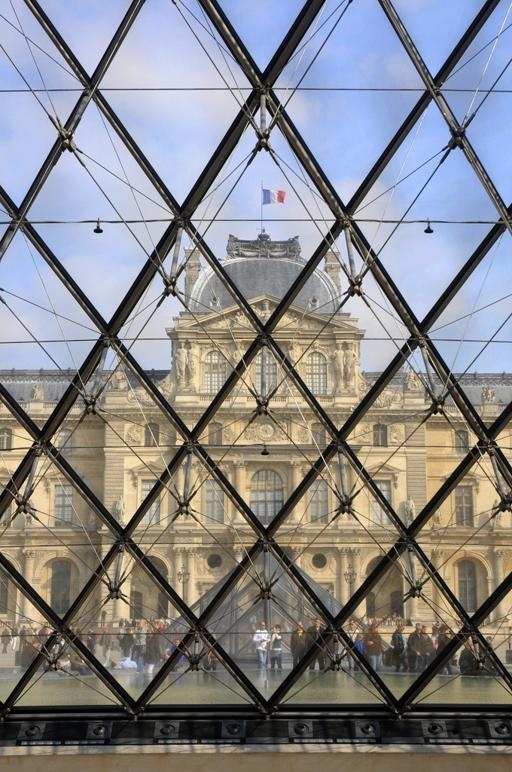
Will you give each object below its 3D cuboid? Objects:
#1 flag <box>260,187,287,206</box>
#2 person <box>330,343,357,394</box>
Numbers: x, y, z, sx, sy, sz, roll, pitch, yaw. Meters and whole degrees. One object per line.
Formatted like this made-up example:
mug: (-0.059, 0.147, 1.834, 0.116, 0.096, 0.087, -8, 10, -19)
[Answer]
flag: (0.228, -2.733, 21.443, 0.337, 0.407, 0.246, -2, -53, 1)
person: (1.344, -0.291, 22.826, 0.398, 0.574, 0.728, -2, -54, 1)
